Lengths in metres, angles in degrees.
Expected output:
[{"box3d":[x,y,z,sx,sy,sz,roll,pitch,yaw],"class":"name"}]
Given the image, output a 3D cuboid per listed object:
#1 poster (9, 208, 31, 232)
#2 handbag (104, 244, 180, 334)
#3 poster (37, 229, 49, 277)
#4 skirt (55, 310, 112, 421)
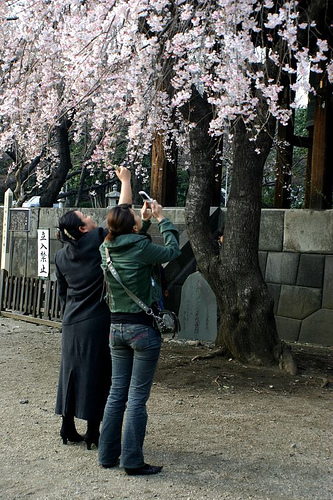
[{"box3d":[-2.857,-0.600,8.579,0.423,0.429,0.060,2,1,25],"class":"poster"},{"box3d":[-0.129,0.192,2.258,0.386,0.453,0.226,1,-3,-8],"class":"handbag"},{"box3d":[-2.047,0.041,7.379,0.329,0.810,0.108,-2,-4,40],"class":"poster"},{"box3d":[-0.462,0.648,2.488,0.298,0.613,0.155,0,-3,4],"class":"skirt"}]
